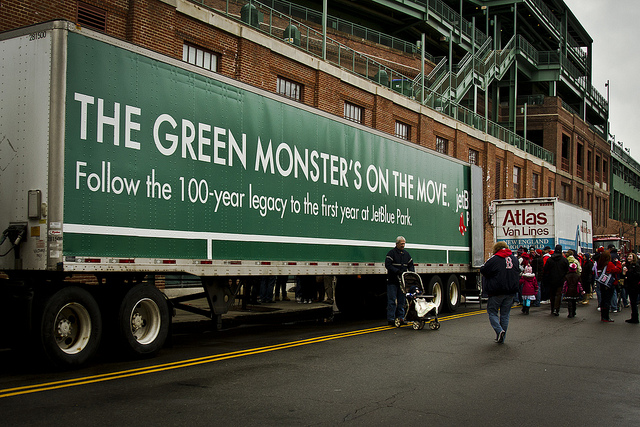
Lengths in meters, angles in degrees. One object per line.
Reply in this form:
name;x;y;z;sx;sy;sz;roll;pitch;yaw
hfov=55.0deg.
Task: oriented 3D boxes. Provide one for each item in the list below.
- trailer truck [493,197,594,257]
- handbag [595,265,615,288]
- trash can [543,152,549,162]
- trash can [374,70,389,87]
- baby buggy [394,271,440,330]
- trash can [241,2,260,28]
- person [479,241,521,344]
trailer truck;11.802;1.438;29.844;1.895;2.865;5.465;-17;-18;37
handbag;9.347;2.145;20.258;0.554;0.658;0.418;24;-25;18
trash can;20.457;-5.068;55.747;0.473;0.994;0.959;-5;-5;33
trash can;3.295;-7.118;32.579;0.784;0.815;0.569;-2;7;-22
baby buggy;2.761;2.425;17.408;0.843;1.643;1.209;3;-6;-32
trash can;-2.885;-7.993;24.994;0.665;1.447;0.791;-2;1;-6
person;4.534;1.942;15.553;0.796;2.410;1.372;1;0;30
